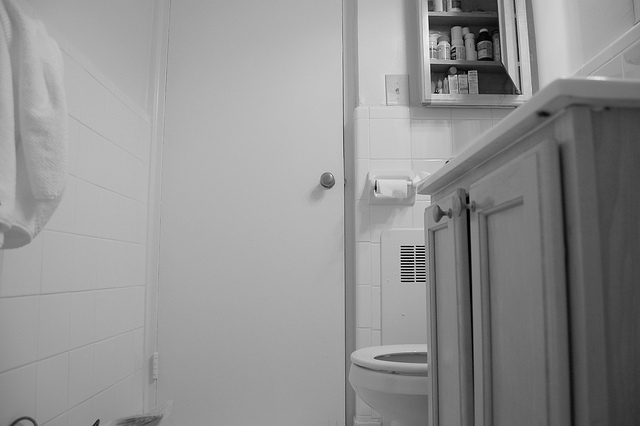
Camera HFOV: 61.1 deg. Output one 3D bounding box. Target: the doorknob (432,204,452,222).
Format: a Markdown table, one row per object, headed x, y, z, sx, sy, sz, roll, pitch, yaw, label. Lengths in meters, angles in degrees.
| x | y | z | sx | sy | sz | roll | pitch | yaw | label |
| --- | --- | --- | --- | --- | --- | --- | --- | --- | --- |
| 0.288 | 0.001 | 1.271 | 0.032 | 0.035 | 0.031 | 1 | 8 | -6 | doorknob |

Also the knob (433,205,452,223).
| x | y | z | sx | sy | sz | roll | pitch | yaw | label |
| --- | --- | --- | --- | --- | --- | --- | --- | --- | --- |
| 0.289 | -0.001 | 1.274 | 0.032 | 0.035 | 0.031 | 2 | -11 | -10 | knob |

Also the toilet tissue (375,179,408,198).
| x | y | z | sx | sy | sz | roll | pitch | yaw | label |
| --- | --- | --- | --- | --- | --- | --- | --- | --- | --- |
| 0.303 | -0.106 | 2.223 | 0.084 | 0.087 | 0.032 | 6 | -12 | -2 | toilet tissue |

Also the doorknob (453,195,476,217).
| x | y | z | sx | sy | sz | roll | pitch | yaw | label |
| --- | --- | --- | --- | --- | --- | --- | --- | --- | --- |
| 0.320 | -0.017 | 1.201 | 0.039 | 0.041 | 0.038 | 0 | 21 | 1 | doorknob |

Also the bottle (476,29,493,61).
| x | y | z | sx | sy | sz | roll | pitch | yaw | label |
| --- | --- | --- | --- | --- | --- | --- | --- | --- | --- |
| 0.688 | -0.704 | 2.262 | 0.064 | 0.127 | 0.056 | -3 | -8 | 19 | bottle |

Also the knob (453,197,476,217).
| x | y | z | sx | sy | sz | roll | pitch | yaw | label |
| --- | --- | --- | --- | --- | --- | --- | --- | --- | --- |
| 0.323 | -0.018 | 1.213 | 0.037 | 0.037 | 0.039 | 0 | 30 | -4 | knob |

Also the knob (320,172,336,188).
| x | y | z | sx | sy | sz | roll | pitch | yaw | label |
| --- | --- | --- | --- | --- | --- | --- | --- | --- | --- |
| 0.034 | -0.143 | 2.352 | 0.056 | 0.060 | 0.053 | 7 | -1 | 4 | knob |

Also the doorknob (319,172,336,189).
| x | y | z | sx | sy | sz | roll | pitch | yaw | label |
| --- | --- | --- | --- | --- | --- | --- | --- | --- | --- |
| 0.036 | -0.145 | 2.354 | 0.061 | 0.066 | 0.067 | -9 | 1 | 3 | doorknob |

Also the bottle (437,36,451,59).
| x | y | z | sx | sy | sz | roll | pitch | yaw | label |
| --- | --- | --- | --- | --- | --- | --- | --- | --- | --- |
| 0.536 | -0.715 | 2.328 | 0.056 | 0.107 | 0.027 | -1 | -8 | 4 | bottle |

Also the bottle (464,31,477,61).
| x | y | z | sx | sy | sz | roll | pitch | yaw | label |
| --- | --- | --- | --- | --- | --- | --- | --- | --- | --- |
| 0.642 | -0.709 | 2.294 | 0.045 | 0.122 | 0.027 | -3 | -8 | 18 | bottle |

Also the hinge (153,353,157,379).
| x | y | z | sx | sy | sz | roll | pitch | yaw | label |
| --- | --- | --- | --- | --- | --- | --- | --- | --- | --- |
| -0.696 | 0.643 | 2.288 | 0.016 | 0.106 | 0.027 | 1 | -8 | -11 | hinge |
